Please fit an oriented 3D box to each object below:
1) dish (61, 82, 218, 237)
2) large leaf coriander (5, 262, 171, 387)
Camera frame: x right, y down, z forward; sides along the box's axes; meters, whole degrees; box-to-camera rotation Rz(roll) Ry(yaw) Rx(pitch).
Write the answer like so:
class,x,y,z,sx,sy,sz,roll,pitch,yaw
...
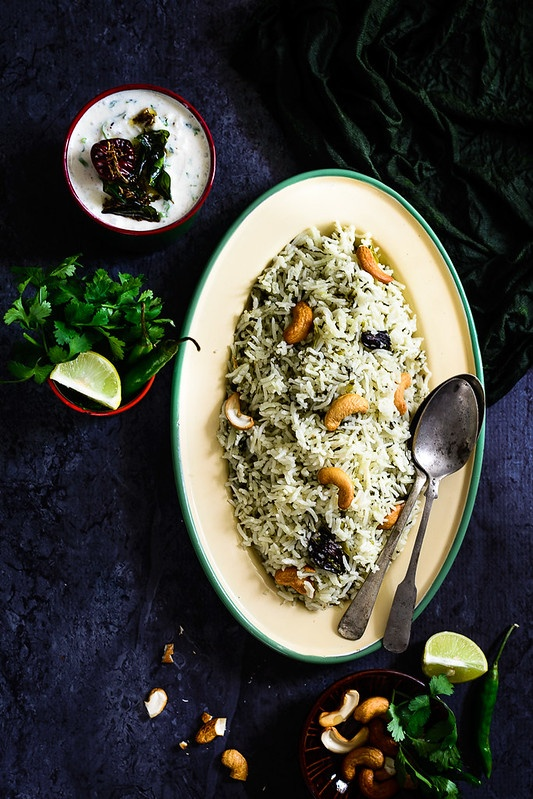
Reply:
class,x,y,z,sx,sy,sz,roll,pitch,yaw
dish,-0.304,-0.583,1.904,0.341,0.096,0.331,-11,82,-4
large leaf coriander,-0.393,-0.170,1.865,0.374,0.276,0.302,5,81,-1
